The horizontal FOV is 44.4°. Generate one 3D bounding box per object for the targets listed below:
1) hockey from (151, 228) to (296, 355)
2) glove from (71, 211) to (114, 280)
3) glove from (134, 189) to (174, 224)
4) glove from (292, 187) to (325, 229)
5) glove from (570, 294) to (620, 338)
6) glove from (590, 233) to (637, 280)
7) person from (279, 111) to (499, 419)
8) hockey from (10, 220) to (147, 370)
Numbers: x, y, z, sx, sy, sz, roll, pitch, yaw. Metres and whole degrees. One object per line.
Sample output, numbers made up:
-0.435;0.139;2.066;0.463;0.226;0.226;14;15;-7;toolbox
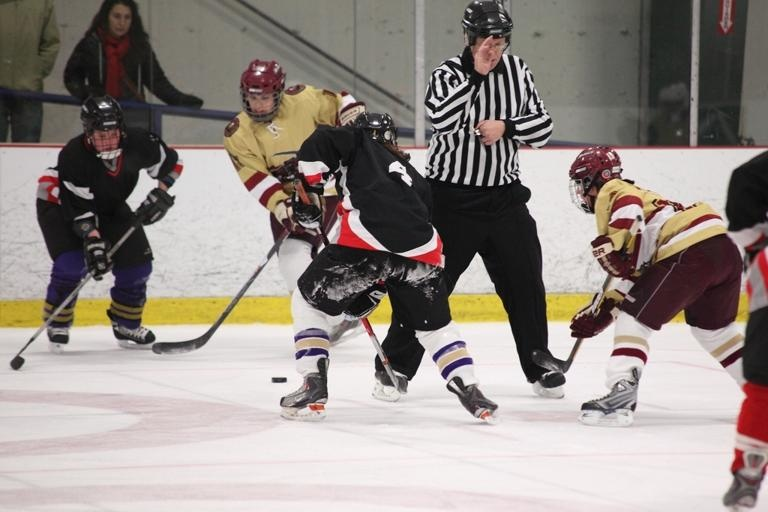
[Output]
-1.154;0.221;6.590;0.156;0.146;1.077;10;50;45;hockey
-1.806;-0.072;5.884;0.268;0.122;0.409;-4;50;-23;glove
-1.498;-0.335;6.233;0.194;0.264;0.109;44;-4;-5;glove
-0.387;-0.258;4.811;0.158;0.122;0.185;-12;45;-29;glove
1.117;0.307;4.942;0.122;0.238;0.234;47;49;-15;glove
1.146;0.003;4.739;0.237;0.098;0.178;43;35;2;glove
0.003;0.053;4.680;0.926;1.509;0.486;4;7;-6;person
-2.028;0.236;6.214;0.175;1.275;0.066;47;-14;-8;hockey
